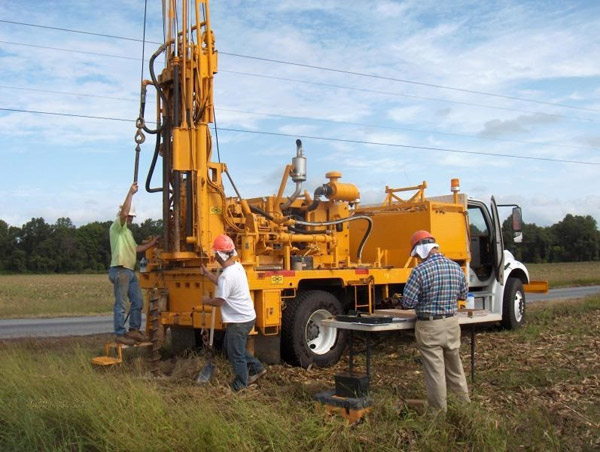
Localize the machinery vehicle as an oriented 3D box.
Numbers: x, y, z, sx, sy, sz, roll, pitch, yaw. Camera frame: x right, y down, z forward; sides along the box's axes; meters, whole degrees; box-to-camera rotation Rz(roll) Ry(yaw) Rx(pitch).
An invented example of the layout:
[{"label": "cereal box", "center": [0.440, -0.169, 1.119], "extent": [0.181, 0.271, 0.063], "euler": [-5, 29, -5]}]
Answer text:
[{"label": "machinery vehicle", "center": [0.636, -0.107, 13.827], "extent": [4.302, 7.580, 12.072], "euler": [-3, -1, 39]}]

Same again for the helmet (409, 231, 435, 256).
[{"label": "helmet", "center": [1.657, 0.241, 7.650], "extent": [0.283, 0.235, 0.367], "euler": [-18, -16, -2]}]

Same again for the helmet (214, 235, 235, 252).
[{"label": "helmet", "center": [-1.151, 0.262, 8.065], "extent": [0.227, 0.149, 0.254], "euler": [0, -2, -40]}]

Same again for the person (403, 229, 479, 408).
[{"label": "person", "center": [1.768, 1.156, 7.191], "extent": [0.819, 2.185, 0.647], "euler": [1, -2, -43]}]

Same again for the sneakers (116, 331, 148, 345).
[{"label": "sneakers", "center": [-2.729, 1.811, 8.963], "extent": [0.589, 0.285, 0.220], "euler": [-3, -5, 12]}]

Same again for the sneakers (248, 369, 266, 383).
[{"label": "sneakers", "center": [-0.652, 2.247, 8.349], "extent": [0.120, 0.116, 0.320], "euler": [36, 43, 20]}]

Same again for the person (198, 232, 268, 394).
[{"label": "person", "center": [-0.968, 1.258, 8.202], "extent": [0.822, 2.217, 0.776], "euler": [-1, -1, 0]}]

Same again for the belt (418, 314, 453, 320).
[{"label": "belt", "center": [1.760, 1.174, 7.148], "extent": [0.467, 0.087, 0.128], "euler": [-1, -2, 4]}]
